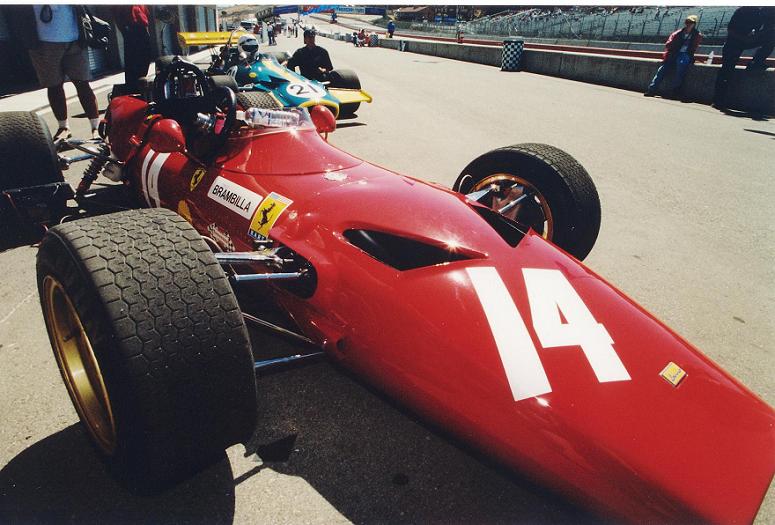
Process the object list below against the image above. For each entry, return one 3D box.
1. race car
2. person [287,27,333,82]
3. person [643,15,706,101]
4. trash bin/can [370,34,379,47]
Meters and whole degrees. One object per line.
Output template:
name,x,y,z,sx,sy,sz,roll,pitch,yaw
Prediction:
race car,-1.869,-3.180,8.909,2.241,1.249,3.656,-23,46,-40
person,-1.581,-3.932,10.940,0.918,1.592,0.560,-5,17,-6
person,6.583,-4.721,12.126,0.855,1.786,0.892,16,21,17
trash bin/can,-1.071,-17.453,41.762,0.852,0.402,1.366,2,47,-1
